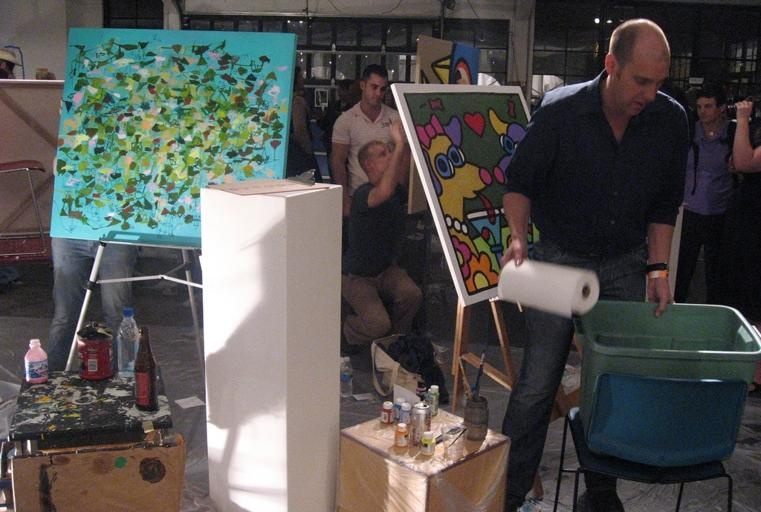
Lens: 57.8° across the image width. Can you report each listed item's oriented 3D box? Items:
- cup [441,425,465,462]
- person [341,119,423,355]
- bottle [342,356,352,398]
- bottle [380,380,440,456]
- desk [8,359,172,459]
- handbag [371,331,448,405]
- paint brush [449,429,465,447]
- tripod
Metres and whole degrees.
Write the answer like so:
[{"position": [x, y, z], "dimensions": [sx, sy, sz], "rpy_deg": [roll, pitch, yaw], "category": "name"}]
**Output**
[{"position": [0.321, 0.827, 3.054], "dimensions": [0.100, 0.120, 0.111], "rpy_deg": [1, 1, 7], "category": "cup"}, {"position": [-0.008, -0.137, 4.780], "dimensions": [0.559, 1.554, 0.659], "rpy_deg": [-2, 10, -4], "category": "person"}, {"position": [-0.224, 0.789, 4.565], "dimensions": [0.076, 0.224, 0.216], "rpy_deg": [-2, 11, -2], "category": "bottle"}, {"position": [0.143, 0.743, 3.138], "dimensions": [0.267, 0.321, 0.212], "rpy_deg": [3, 2, -22], "category": "bottle"}, {"position": [-1.314, 0.680, 3.179], "dimensions": [0.690, 0.251, 0.427], "rpy_deg": [-4, 11, -12], "category": "desk"}, {"position": [0.206, 0.740, 4.606], "dimensions": [0.460, 0.517, 0.390], "rpy_deg": [-6, 6, 4], "category": "handbag"}, {"position": [0.344, 0.806, 3.059], "dimensions": [0.055, 0.061, 0.051], "rpy_deg": [11, 10, 1], "category": "paint brush"}, {"position": [-1.503, 0.215, 4.338], "dimensions": [0.923, 0.971, 0.788], "rpy_deg": [3, 1, 38], "category": "tripod"}]
